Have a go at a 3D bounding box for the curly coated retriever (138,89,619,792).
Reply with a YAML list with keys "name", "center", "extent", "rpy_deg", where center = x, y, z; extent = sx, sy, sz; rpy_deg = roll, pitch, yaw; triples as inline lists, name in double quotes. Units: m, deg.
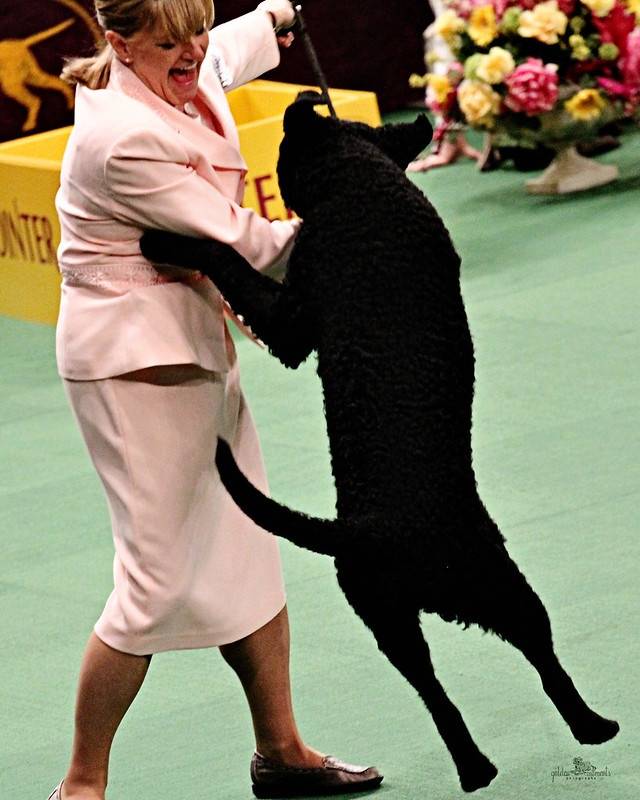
- name: "curly coated retriever"
  center: [0.087, 0.035, 1.570]
  extent: [0.550, 0.923, 0.629]
  rpy_deg: [-16, -7, -3]
